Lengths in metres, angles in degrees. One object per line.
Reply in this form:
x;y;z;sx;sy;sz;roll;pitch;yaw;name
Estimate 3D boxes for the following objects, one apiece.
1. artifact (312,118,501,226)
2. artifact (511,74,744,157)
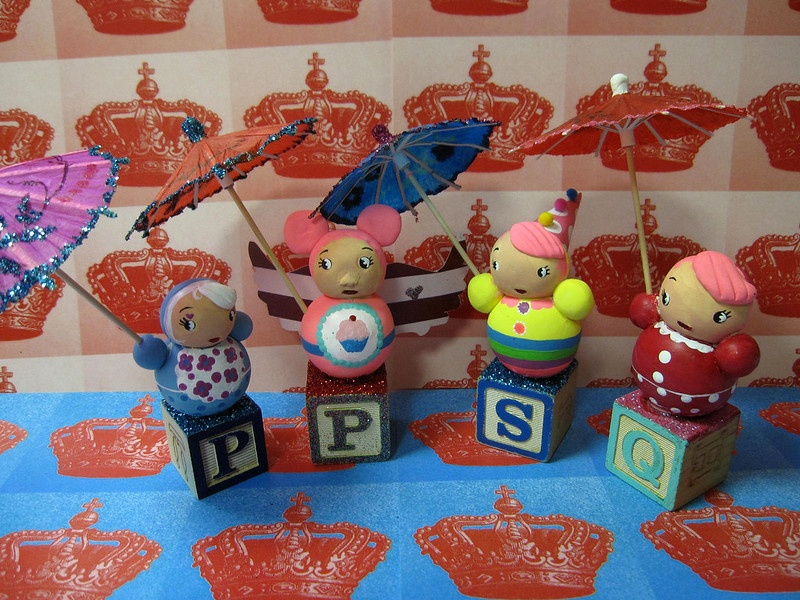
0.049;-0.531;2.922;0.495;0.476;0.244;-19;66;-36;artifact
0.837;-0.706;2.793;0.767;0.250;0.767;-6;3;3;artifact
